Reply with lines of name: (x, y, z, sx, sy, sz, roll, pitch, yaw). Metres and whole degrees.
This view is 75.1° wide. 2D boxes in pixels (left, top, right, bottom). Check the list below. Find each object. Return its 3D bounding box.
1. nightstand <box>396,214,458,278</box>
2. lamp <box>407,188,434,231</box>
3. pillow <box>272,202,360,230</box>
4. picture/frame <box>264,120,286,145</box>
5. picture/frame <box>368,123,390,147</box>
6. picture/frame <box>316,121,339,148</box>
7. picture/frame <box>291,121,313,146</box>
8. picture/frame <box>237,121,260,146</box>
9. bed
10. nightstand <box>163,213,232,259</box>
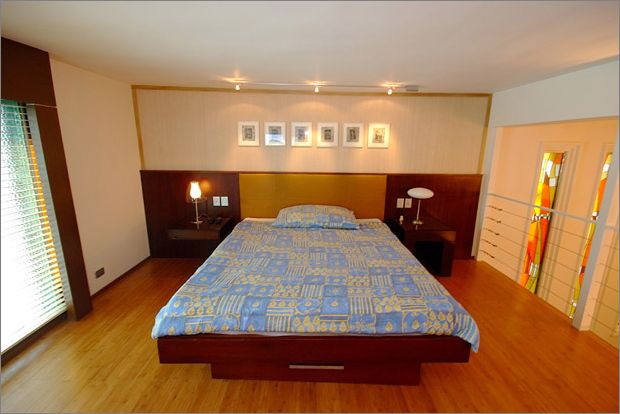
nightstand: (1.637, 0.534, 6.044, 0.851, 0.803, 0.850, 0, 15, 4)
lamp: (1.616, 0.025, 5.887, 0.440, 0.518, 0.436, -17, 26, -35)
pillow: (0.092, 0.154, 5.672, 0.862, 0.165, 0.472, 1, 21, 3)
picture/frame: (-0.511, -1.099, 5.879, 0.360, 0.337, 0.029, 0, 17, -4)
picture/frame: (1.004, -1.053, 5.906, 0.308, 0.328, 0.020, 6, 14, 24)
picture/frame: (0.250, -1.086, 5.899, 0.376, 0.411, 0.033, -1, 13, -4)
picture/frame: (-0.129, -1.093, 5.890, 0.349, 0.370, 0.027, -1, 13, -4)
picture/frame: (-0.898, -1.088, 5.866, 0.372, 0.410, 0.030, -1, 15, -7)
bed: (0.024, 0.347, 5.089, 2.874, 1.544, 2.727, 0, 12, 1)
nightstand: (-1.648, 0.476, 5.891, 0.726, 0.416, 0.695, 0, 12, 0)
